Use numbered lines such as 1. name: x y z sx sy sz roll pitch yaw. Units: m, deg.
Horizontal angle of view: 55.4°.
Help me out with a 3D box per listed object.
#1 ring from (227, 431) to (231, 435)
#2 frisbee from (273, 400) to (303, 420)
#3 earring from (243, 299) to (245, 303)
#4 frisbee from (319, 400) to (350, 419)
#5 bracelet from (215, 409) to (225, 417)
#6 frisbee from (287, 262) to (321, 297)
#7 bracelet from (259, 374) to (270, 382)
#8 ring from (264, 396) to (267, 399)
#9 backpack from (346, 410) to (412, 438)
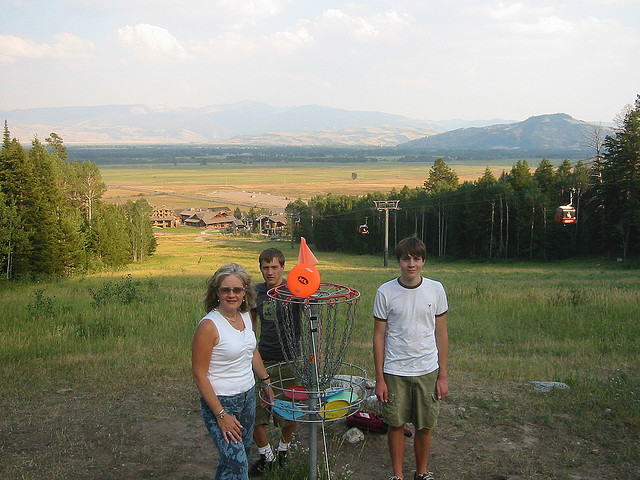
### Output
1. ring: -1.268 2.683 8.492 0.037 0.041 0.012 0 5 2
2. frisbee: -0.508 2.567 9.183 0.331 0.052 0.271 18 -1 22
3. earring: -1.124 0.901 8.967 0.013 0.059 0.056 2 5 22
4. frisbee: 0.211 2.512 8.986 0.438 0.204 0.467 0 5 4
5. bracelet: -1.381 2.402 8.468 0.071 0.017 0.072 -41 1 30
6. frisbee: -0.236 0.570 8.718 0.458 0.472 0.237 0 5 -3
7. bracelet: -0.816 2.132 9.308 0.176 0.075 0.131 -2 3 -32
8. ring: -0.828 2.407 9.301 0.039 0.044 0.039 3 -11 1
9. backpack: 1.072 3.193 11.060 1.057 0.408 0.681 15 -9 10
